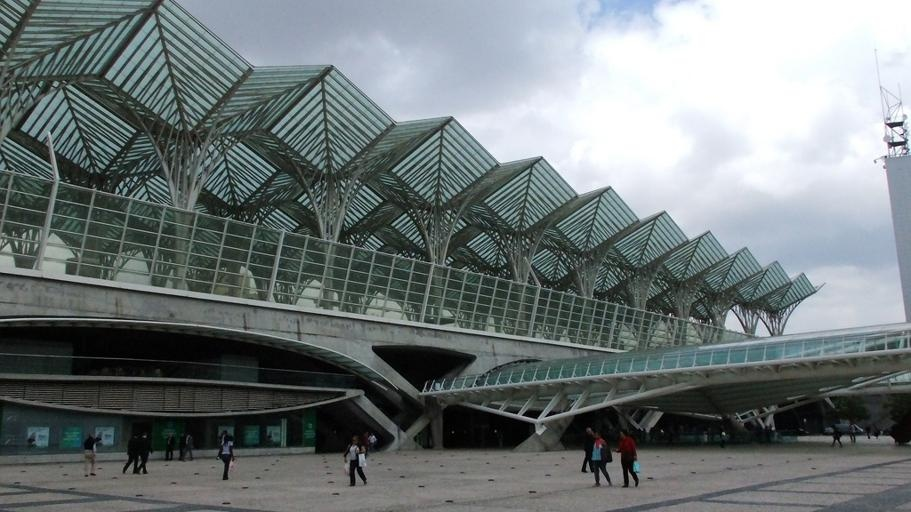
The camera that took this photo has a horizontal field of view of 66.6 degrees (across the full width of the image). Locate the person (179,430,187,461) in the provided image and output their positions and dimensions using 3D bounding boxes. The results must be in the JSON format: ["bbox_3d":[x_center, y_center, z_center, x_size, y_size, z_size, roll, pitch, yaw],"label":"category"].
[{"bbox_3d":[-16.369,11.506,41.662,0.401,1.516,1.141,7,-23,-22],"label":"person"}]

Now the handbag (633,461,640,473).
[{"bbox_3d":[7.392,8.551,28.145,0.227,0.479,0.501,-12,-22,24],"label":"handbag"}]

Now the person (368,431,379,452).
[{"bbox_3d":[-5.676,12.855,47.950,0.856,0.565,1.642,-21,5,1],"label":"person"}]

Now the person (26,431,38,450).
[{"bbox_3d":[-24.270,10.609,39.711,0.486,0.832,0.267,3,-22,-13],"label":"person"}]

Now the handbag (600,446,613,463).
[{"bbox_3d":[6.287,8.157,28.618,0.406,0.599,0.246,1,-22,-8],"label":"handbag"}]
